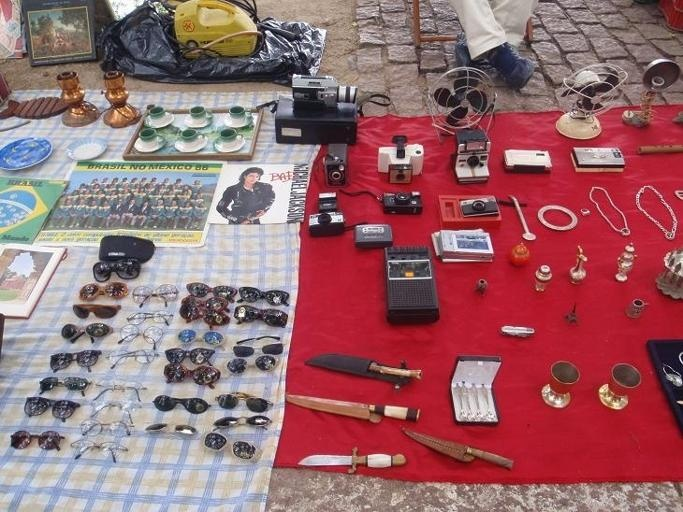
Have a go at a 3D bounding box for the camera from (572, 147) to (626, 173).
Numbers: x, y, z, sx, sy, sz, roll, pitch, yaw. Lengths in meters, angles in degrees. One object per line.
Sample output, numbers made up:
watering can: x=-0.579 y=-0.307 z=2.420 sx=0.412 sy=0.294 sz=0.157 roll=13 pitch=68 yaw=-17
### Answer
camera: x=2.398 y=-0.924 z=5.102 sx=0.497 sy=0.150 sz=0.307 roll=-1 pitch=40 yaw=4

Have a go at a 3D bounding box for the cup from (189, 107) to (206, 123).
cup: x=-1.479 y=-1.448 z=5.564 sx=0.140 sy=0.105 sz=0.154 roll=7 pitch=43 yaw=-7

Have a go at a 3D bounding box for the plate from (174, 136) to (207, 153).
plate: x=-1.490 y=-1.077 z=5.334 sx=0.250 sy=0.079 sz=0.199 roll=2 pitch=46 yaw=1

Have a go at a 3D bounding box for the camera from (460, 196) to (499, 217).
camera: x=1.157 y=-0.430 z=4.680 sx=0.307 sy=0.105 sz=0.195 roll=-5 pitch=40 yaw=0

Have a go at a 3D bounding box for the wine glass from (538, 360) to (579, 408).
wine glass: x=1.488 y=0.902 z=3.767 sx=0.256 sy=0.248 sz=0.224 roll=-20 pitch=53 yaw=-19

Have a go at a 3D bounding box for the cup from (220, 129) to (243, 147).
cup: x=-1.088 y=-1.156 z=5.325 sx=0.267 sy=0.142 sz=0.138 roll=0 pitch=52 yaw=-3

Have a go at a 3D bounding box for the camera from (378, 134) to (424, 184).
camera: x=0.539 y=-0.874 z=5.131 sx=0.533 sy=0.331 sz=0.421 roll=1 pitch=56 yaw=4

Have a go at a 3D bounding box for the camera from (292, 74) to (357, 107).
camera: x=-0.175 y=-1.610 z=5.258 sx=0.543 sy=0.192 sz=0.295 roll=3 pitch=31 yaw=3

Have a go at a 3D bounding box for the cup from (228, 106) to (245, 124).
cup: x=-1.071 y=-1.453 z=5.555 sx=0.167 sy=0.134 sz=0.132 roll=-19 pitch=44 yaw=-15

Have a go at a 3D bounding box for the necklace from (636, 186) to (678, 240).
necklace: x=2.747 y=-0.380 z=4.781 sx=0.248 sy=0.046 sz=0.523 roll=-13 pitch=48 yaw=-4

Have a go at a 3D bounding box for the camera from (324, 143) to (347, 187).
camera: x=-0.064 y=-0.818 z=4.948 sx=0.242 sy=0.267 sz=0.359 roll=0 pitch=48 yaw=3

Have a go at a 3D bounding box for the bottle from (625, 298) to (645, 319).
bottle: x=2.217 y=0.403 z=4.150 sx=0.131 sy=0.099 sz=0.072 roll=-28 pitch=51 yaw=-16

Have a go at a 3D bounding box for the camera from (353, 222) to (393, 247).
camera: x=0.257 y=-0.188 z=4.619 sx=0.307 sy=0.137 sz=0.243 roll=0 pitch=41 yaw=5

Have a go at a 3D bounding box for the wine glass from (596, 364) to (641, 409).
wine glass: x=1.898 y=0.867 z=3.727 sx=0.207 sy=0.369 sz=0.265 roll=26 pitch=52 yaw=29

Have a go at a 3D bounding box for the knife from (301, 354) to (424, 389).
knife: x=0.116 y=0.814 z=3.947 sx=1.016 sy=0.107 sz=0.236 roll=6 pitch=39 yaw=14

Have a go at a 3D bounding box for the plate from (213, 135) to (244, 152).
plate: x=-1.114 y=-1.078 z=5.314 sx=0.238 sy=0.075 sz=0.199 roll=11 pitch=43 yaw=13

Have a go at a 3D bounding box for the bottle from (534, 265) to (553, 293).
bottle: x=1.574 y=0.188 z=4.293 sx=0.136 sy=0.194 sz=0.113 roll=-8 pitch=47 yaw=-1

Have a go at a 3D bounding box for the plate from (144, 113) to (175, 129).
plate: x=-1.874 y=-1.388 z=5.573 sx=0.244 sy=0.078 sz=0.197 roll=15 pitch=44 yaw=12

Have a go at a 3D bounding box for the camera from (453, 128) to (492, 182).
camera: x=1.183 y=-0.925 z=4.985 sx=0.331 sy=0.431 sz=0.384 roll=4 pitch=44 yaw=10

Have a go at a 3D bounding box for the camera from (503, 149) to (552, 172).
camera: x=1.722 y=-0.911 z=5.118 sx=0.422 sy=0.145 sz=0.282 roll=1 pitch=41 yaw=7

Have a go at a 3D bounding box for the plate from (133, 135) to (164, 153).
plate: x=-1.893 y=-1.083 z=5.318 sx=0.234 sy=0.079 sz=0.193 roll=12 pitch=38 yaw=13

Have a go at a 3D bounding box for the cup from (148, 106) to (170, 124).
cup: x=-1.882 y=-1.457 z=5.591 sx=0.204 sy=0.109 sz=0.116 roll=-7 pitch=37 yaw=-22

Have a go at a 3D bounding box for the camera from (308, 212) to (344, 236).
camera: x=-0.123 y=-0.278 z=4.657 sx=0.415 sy=0.173 sz=0.249 roll=-3 pitch=25 yaw=3

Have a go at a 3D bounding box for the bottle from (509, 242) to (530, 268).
bottle: x=1.431 y=0.000 z=4.437 sx=0.185 sy=0.217 sz=0.145 roll=1 pitch=41 yaw=2

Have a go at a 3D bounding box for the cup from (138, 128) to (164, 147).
cup: x=-1.899 y=-1.204 z=5.371 sx=0.213 sy=0.127 sz=0.276 roll=-17 pitch=42 yaw=-14

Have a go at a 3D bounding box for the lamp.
lamp: x=2.966 y=-1.632 z=5.290 sx=0.363 sy=0.665 sz=0.404 roll=6 pitch=45 yaw=12
